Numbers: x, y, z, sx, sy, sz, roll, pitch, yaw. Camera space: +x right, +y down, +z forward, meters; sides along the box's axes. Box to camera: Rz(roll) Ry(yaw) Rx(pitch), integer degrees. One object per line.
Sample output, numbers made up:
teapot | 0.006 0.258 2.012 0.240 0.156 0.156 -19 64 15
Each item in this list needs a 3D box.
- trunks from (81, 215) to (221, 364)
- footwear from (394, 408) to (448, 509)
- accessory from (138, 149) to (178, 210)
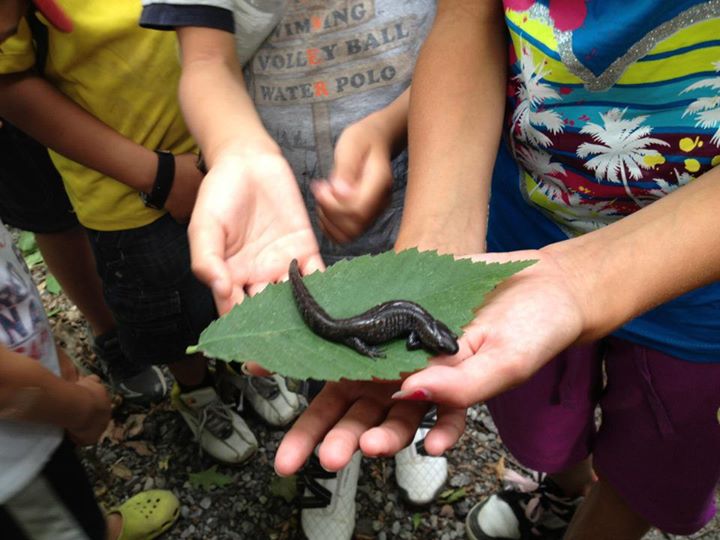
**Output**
trunks | -1.811 0.148 4.852 0.951 1.297 0.693 -22 -8 3
footwear | 0.566 1.886 5.189 0.493 0.382 0.448 -24 41 -26
accessory | -1.701 -0.767 4.754 0.154 0.397 0.413 8 60 -27
